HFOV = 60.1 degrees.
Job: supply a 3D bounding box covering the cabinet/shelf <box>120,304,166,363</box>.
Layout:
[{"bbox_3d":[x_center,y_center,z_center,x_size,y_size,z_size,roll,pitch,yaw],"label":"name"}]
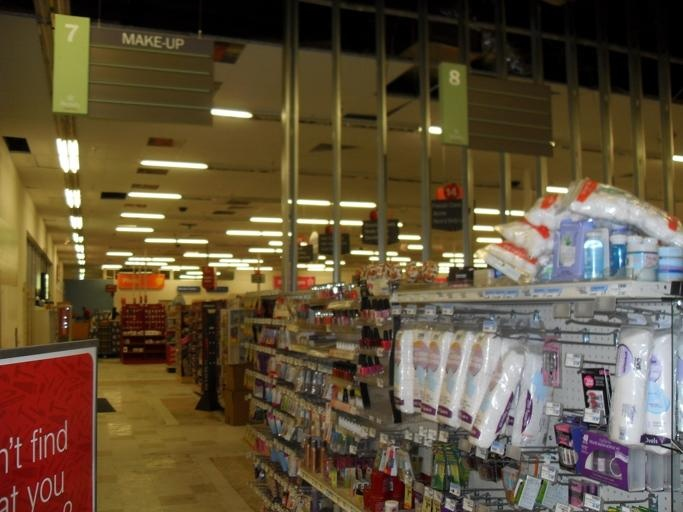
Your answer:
[{"bbox_3d":[-7.363,2.904,21.944,1.661,2.432,0.782,3,-10,-19],"label":"cabinet/shelf"}]
